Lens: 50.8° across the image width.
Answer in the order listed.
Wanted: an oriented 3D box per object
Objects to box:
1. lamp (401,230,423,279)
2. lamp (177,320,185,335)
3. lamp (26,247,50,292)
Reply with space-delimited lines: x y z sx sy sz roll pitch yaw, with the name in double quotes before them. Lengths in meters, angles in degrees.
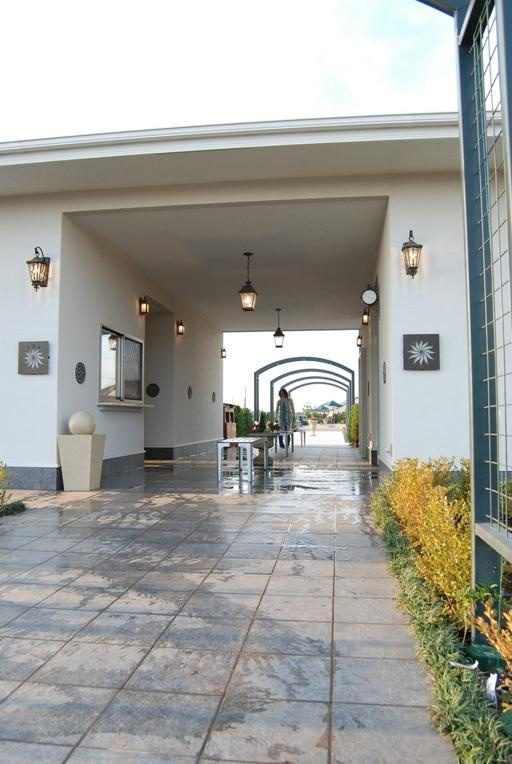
"lamp" 1.731 -1.458 5.993 0.228 0.556 0.295 -3 -4 19
"lamp" -1.675 -1.203 11.862 0.169 0.410 0.349 0 -1 6
"lamp" -2.732 -1.379 6.746 0.217 0.427 0.245 -1 -4 -2
